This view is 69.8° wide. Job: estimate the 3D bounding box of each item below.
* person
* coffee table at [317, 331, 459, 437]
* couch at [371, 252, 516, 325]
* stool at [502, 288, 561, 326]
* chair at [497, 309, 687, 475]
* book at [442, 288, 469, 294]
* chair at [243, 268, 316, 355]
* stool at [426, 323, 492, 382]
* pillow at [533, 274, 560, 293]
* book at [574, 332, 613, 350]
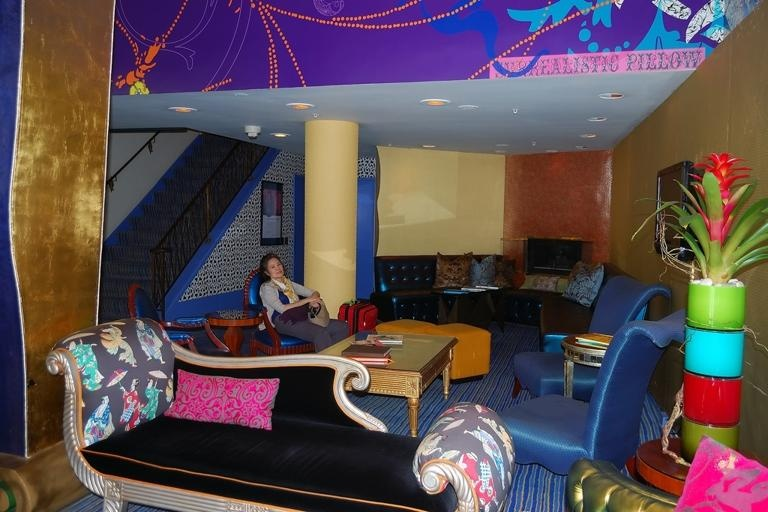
[{"bbox_3d":[-0.933,0.673,6.290,0.891,1.453,0.658,-6,3,25],"label":"person"},{"bbox_3d":[0.046,0.899,4.827,0.824,0.542,1.114,0,4,17],"label":"coffee table"},{"bbox_3d":[0.470,0.590,9.021,0.652,0.937,1.881,26,13,30],"label":"couch"},{"bbox_3d":[2.062,0.804,8.606,0.743,0.378,0.563,2,2,39],"label":"stool"},{"bbox_3d":[1.378,0.933,3.752,0.724,1.040,1.129,1,-1,-43],"label":"chair"},{"bbox_3d":[1.056,0.515,8.192,0.367,0.051,0.421,2,13,9],"label":"book"},{"bbox_3d":[-1.204,0.740,6.360,0.710,1.167,0.657,4,5,37],"label":"chair"},{"bbox_3d":[0.853,1.043,6.268,0.571,0.598,0.569,-2,4,-20],"label":"stool"},{"bbox_3d":[2.675,0.430,8.990,0.285,0.271,0.088,6,-33,27],"label":"pillow"},{"bbox_3d":[1.744,0.704,4.600,0.292,0.024,0.291,-4,8,-16],"label":"book"}]
